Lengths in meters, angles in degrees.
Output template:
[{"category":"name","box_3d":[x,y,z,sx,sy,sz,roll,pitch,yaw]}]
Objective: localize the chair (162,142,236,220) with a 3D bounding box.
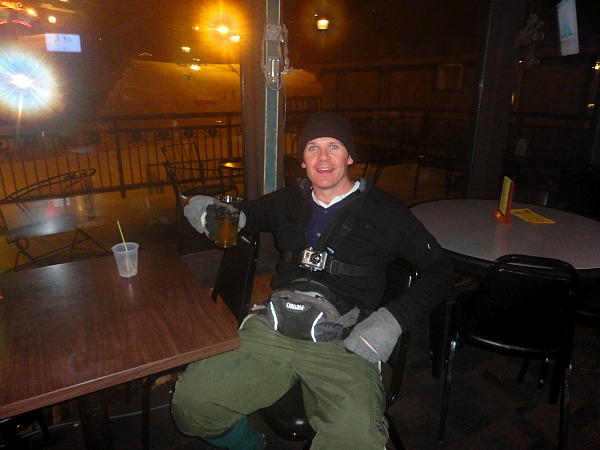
[{"category":"chair","box_3d":[-0.881,-0.503,3.893,0.606,0.947,0.593,-7,33,-7]}]

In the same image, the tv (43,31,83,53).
[{"category":"tv","box_3d":[-1.466,-1.139,2.556,0.034,0.124,0.207,12,16,37]}]

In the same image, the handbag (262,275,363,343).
[{"category":"handbag","box_3d":[0.073,0.434,2.155,0.405,0.162,0.301,3,30,-19]}]

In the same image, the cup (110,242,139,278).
[{"category":"cup","box_3d":[-0.908,0.176,2.247,0.165,0.173,0.170,0,13,0]}]

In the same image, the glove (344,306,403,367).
[{"category":"glove","box_3d":[0.389,0.561,2.062,0.231,0.101,0.298,16,44,43]}]
